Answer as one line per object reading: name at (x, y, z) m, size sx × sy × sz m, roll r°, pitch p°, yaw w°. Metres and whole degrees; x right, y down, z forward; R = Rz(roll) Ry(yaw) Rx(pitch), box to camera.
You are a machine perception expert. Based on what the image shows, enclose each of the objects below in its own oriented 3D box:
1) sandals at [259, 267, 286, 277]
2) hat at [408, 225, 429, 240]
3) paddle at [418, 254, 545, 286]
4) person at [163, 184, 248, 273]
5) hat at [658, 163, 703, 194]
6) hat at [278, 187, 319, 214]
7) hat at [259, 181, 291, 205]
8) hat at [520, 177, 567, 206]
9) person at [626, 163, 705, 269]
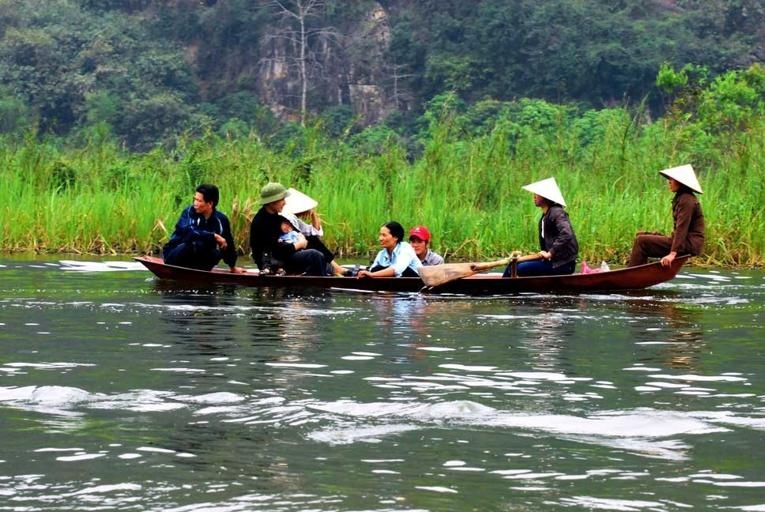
sandals at (-1.288, 0.185, 13.222) m, size 0.347 × 0.081 × 0.114 m, roll 5°, pitch -10°, yaw -33°
hat at (0.461, -0.297, 13.543) m, size 0.182 × 0.112 × 0.241 m, roll 8°, pitch -13°, yaw 22°
paddle at (0.986, 0.140, 12.995) m, size 1.875 × 0.126 × 0.426 m, roll -7°, pitch 34°, yaw -13°
person at (-2.136, -0.326, 13.540) m, size 1.085 × 0.903 × 0.812 m, roll 2°, pitch 12°, yaw -21°
hat at (3.659, -0.962, 13.520) m, size 0.563 × 0.200 × 0.517 m, roll 18°, pitch -6°, yaw 12°
hat at (-1.073, -0.688, 13.682) m, size 0.391 × 0.088 × 0.342 m, roll 22°, pitch 46°, yaw 16°
hat at (-1.265, -0.776, 13.199) m, size 0.300 × 0.128 × 0.301 m, roll 2°, pitch 24°, yaw 45°
hat at (1.953, -0.798, 13.456) m, size 0.413 × 0.399 × 0.765 m, roll -1°, pitch -2°, yaw 7°
person at (3.501, -0.520, 13.576) m, size 0.749 × 1.258 × 0.894 m, roll -1°, pitch -2°, yaw -2°
